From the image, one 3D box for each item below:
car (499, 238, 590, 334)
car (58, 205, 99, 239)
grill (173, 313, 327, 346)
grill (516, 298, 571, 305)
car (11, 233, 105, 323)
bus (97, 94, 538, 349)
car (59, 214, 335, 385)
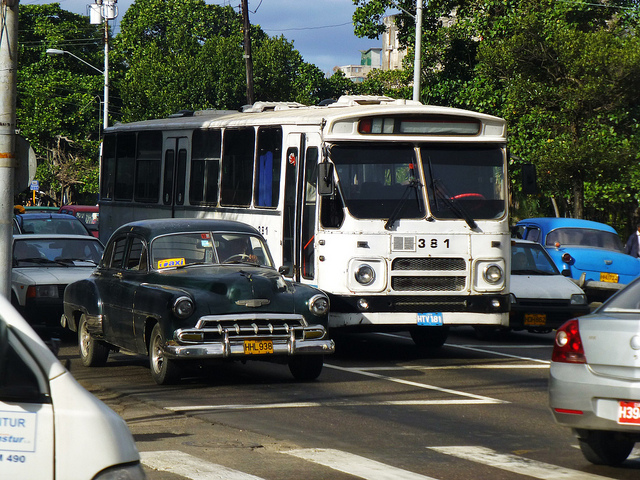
[{"bbox_3d":[3.807,0.712,18.995,1.750,1.503,3.159,3,7,-10],"label":"car"},{"bbox_3d":[-5.891,-0.461,24.115,0.901,0.871,1.672,2,-4,-25],"label":"car"},{"bbox_3d":[-0.880,1.116,12.443,1.964,0.341,0.152,-1,0,-21],"label":"grill"},{"bbox_3d":[4.011,1.078,17.430,0.839,0.120,0.088,0,-15,-7],"label":"grill"},{"bbox_3d":[-5.027,0.608,17.922,1.951,1.478,3.491,-1,3,-37],"label":"car"},{"bbox_3d":[-1.088,-0.538,20.277,4.420,4.404,11.126,-2,4,-30],"label":"bus"},{"bbox_3d":[-1.964,0.773,13.693,1.974,1.470,3.431,3,-2,-31],"label":"car"}]
